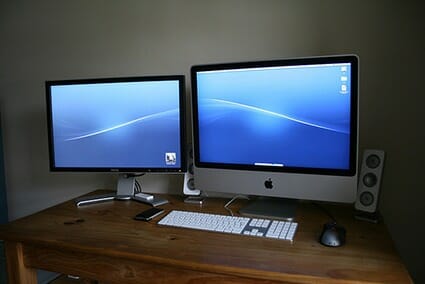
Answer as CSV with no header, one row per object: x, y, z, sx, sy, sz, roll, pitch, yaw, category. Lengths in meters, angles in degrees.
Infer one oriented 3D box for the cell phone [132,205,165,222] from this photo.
-0.347,0.390,1.857,0.139,0.022,0.227,1,11,11,cell phone

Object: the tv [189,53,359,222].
0.343,-0.023,1.823,0.995,0.795,0.310,1,2,13,tv

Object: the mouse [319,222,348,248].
0.578,0.439,1.620,0.149,0.110,0.084,4,-15,0,mouse

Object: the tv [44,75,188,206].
-0.546,-0.027,2.056,0.984,0.768,0.306,1,0,4,tv
